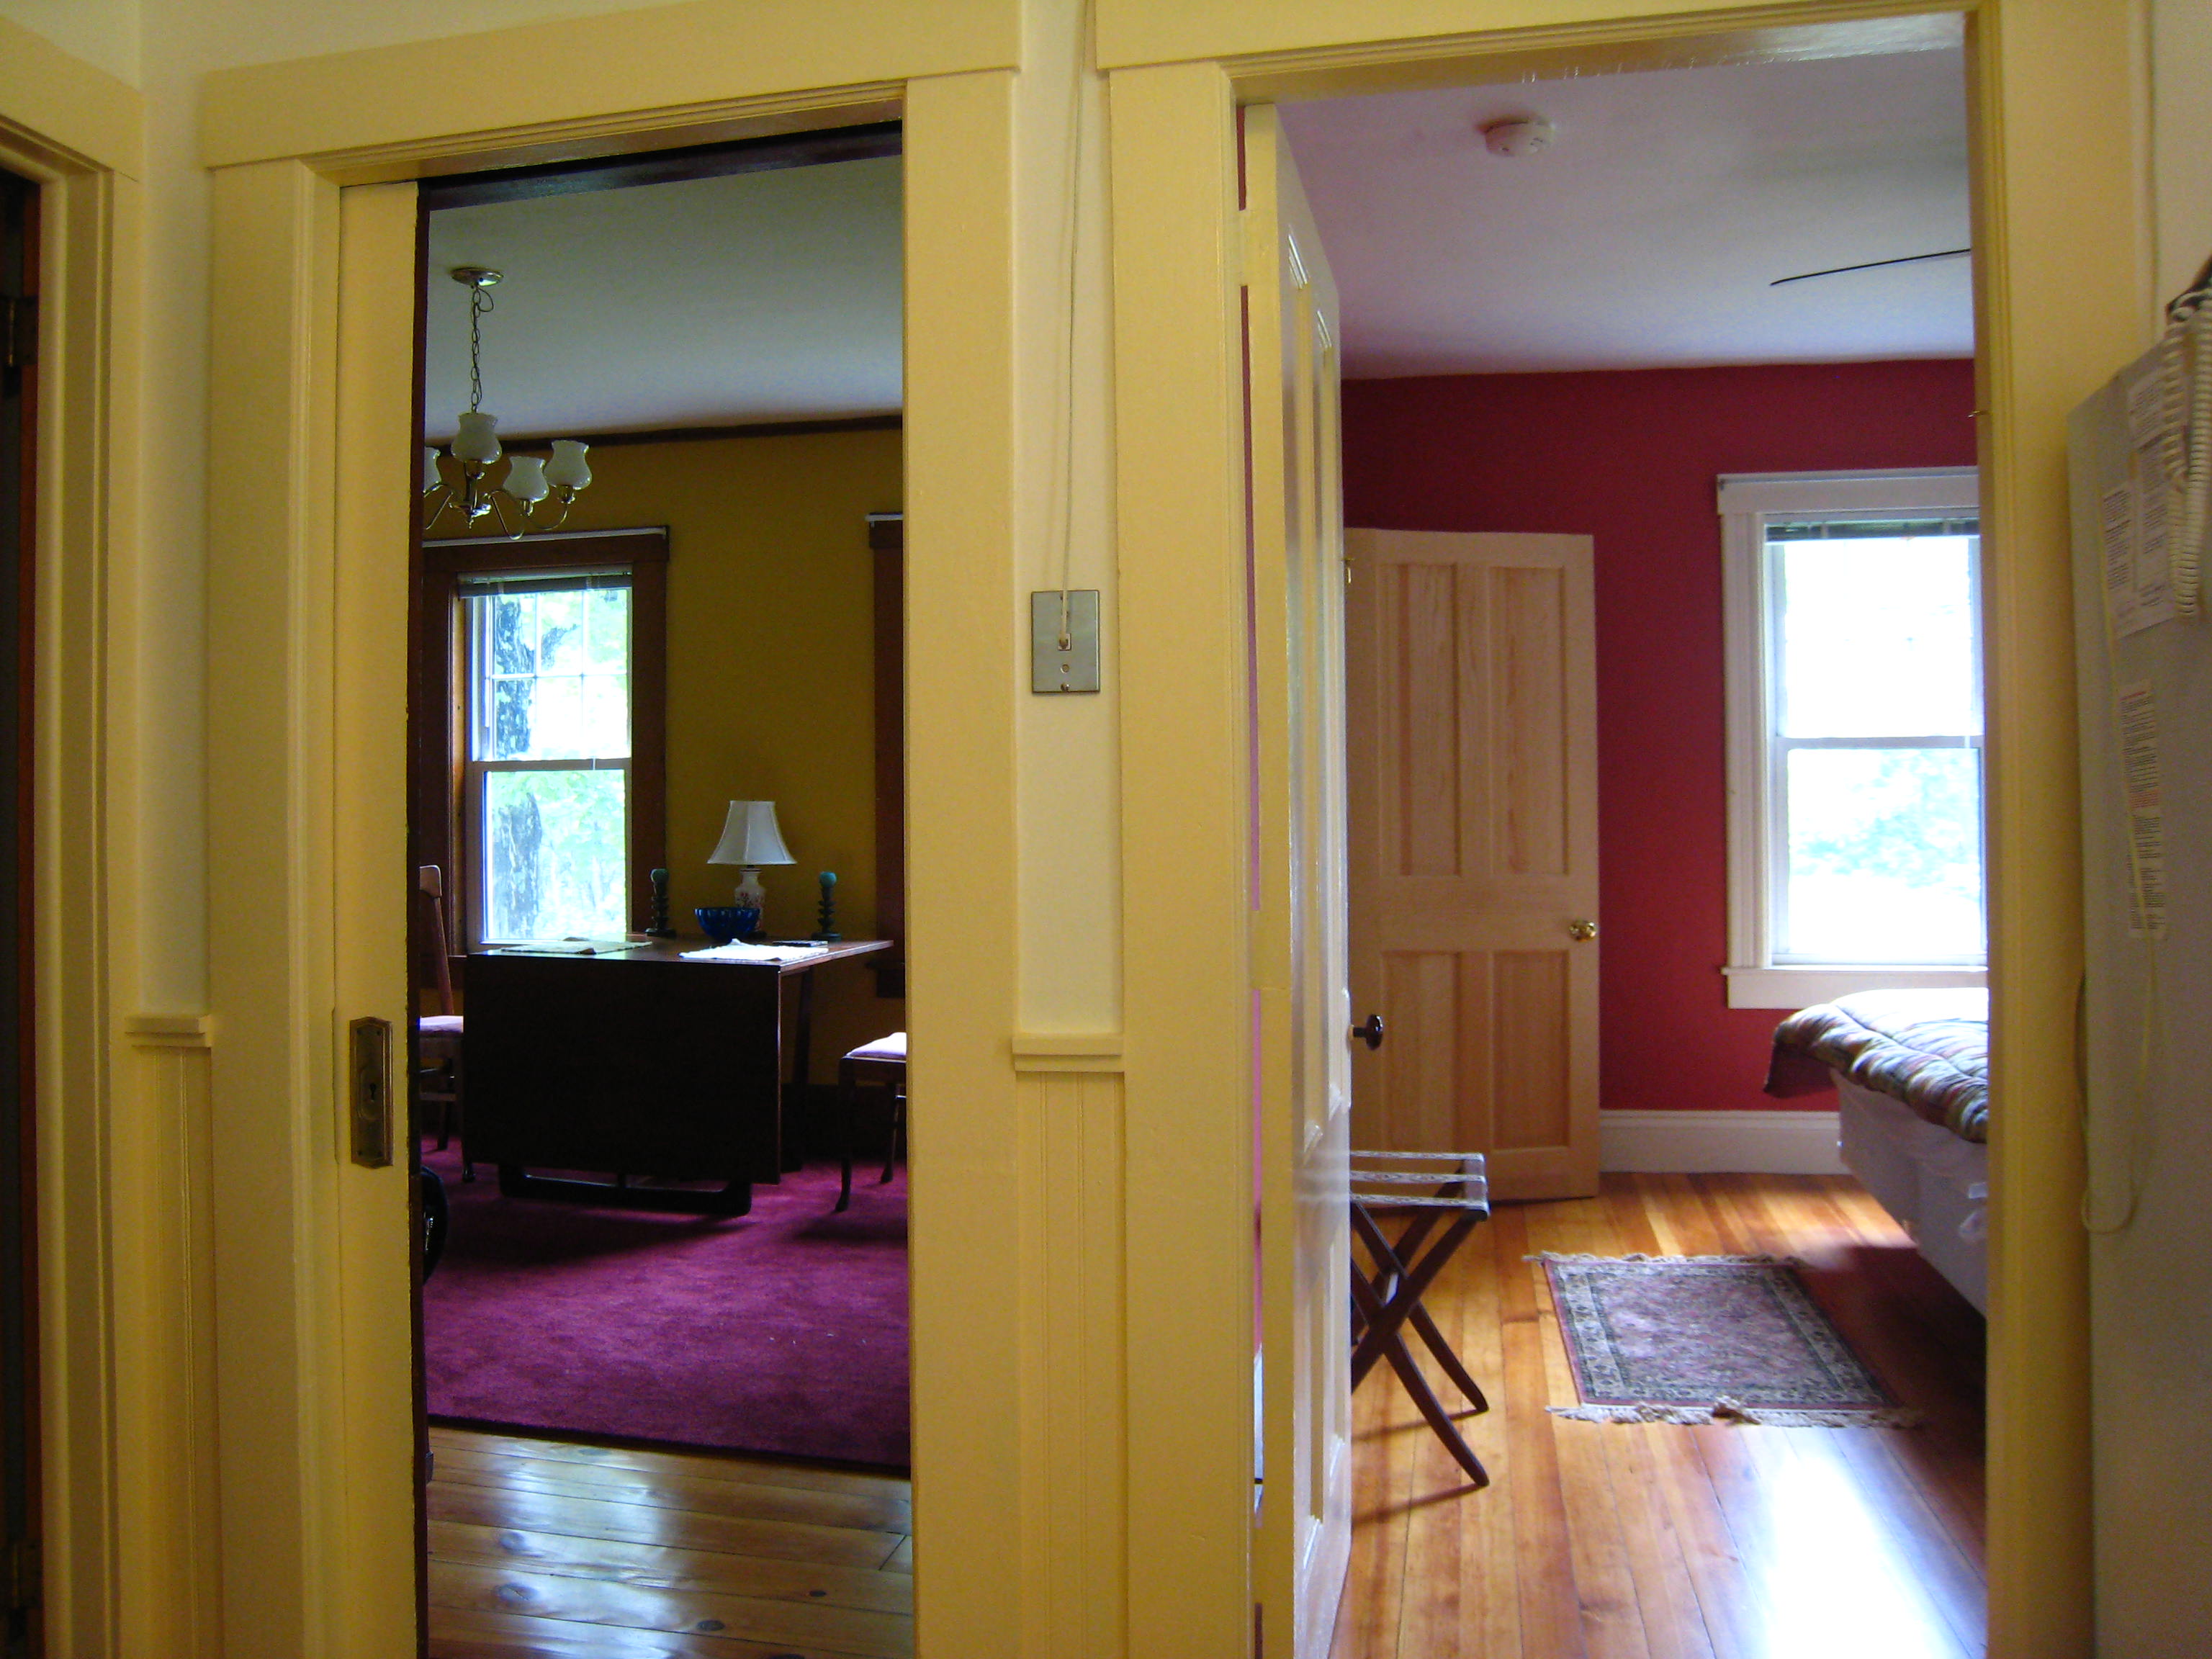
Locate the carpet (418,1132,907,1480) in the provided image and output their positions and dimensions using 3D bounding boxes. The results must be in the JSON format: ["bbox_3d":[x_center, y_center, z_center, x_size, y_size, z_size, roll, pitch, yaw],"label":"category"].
[{"bbox_3d":[-1.139,1.321,5.211,1.397,0.010,1.658,5,5,-10],"label":"carpet"}]

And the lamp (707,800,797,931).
[{"bbox_3d":[-1.335,0.138,7.081,0.297,0.499,0.281,2,2,19],"label":"lamp"}]

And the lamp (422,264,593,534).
[{"bbox_3d":[-2.095,-1.427,6.340,0.725,0.773,0.508,6,17,7],"label":"lamp"}]

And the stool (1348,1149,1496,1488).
[{"bbox_3d":[0.633,1.054,4.261,0.492,0.598,0.431,1,6,22],"label":"stool"}]

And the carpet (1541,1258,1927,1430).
[{"bbox_3d":[1.485,1.283,4.817,0.759,0.020,1.034,-1,5,6],"label":"carpet"}]
